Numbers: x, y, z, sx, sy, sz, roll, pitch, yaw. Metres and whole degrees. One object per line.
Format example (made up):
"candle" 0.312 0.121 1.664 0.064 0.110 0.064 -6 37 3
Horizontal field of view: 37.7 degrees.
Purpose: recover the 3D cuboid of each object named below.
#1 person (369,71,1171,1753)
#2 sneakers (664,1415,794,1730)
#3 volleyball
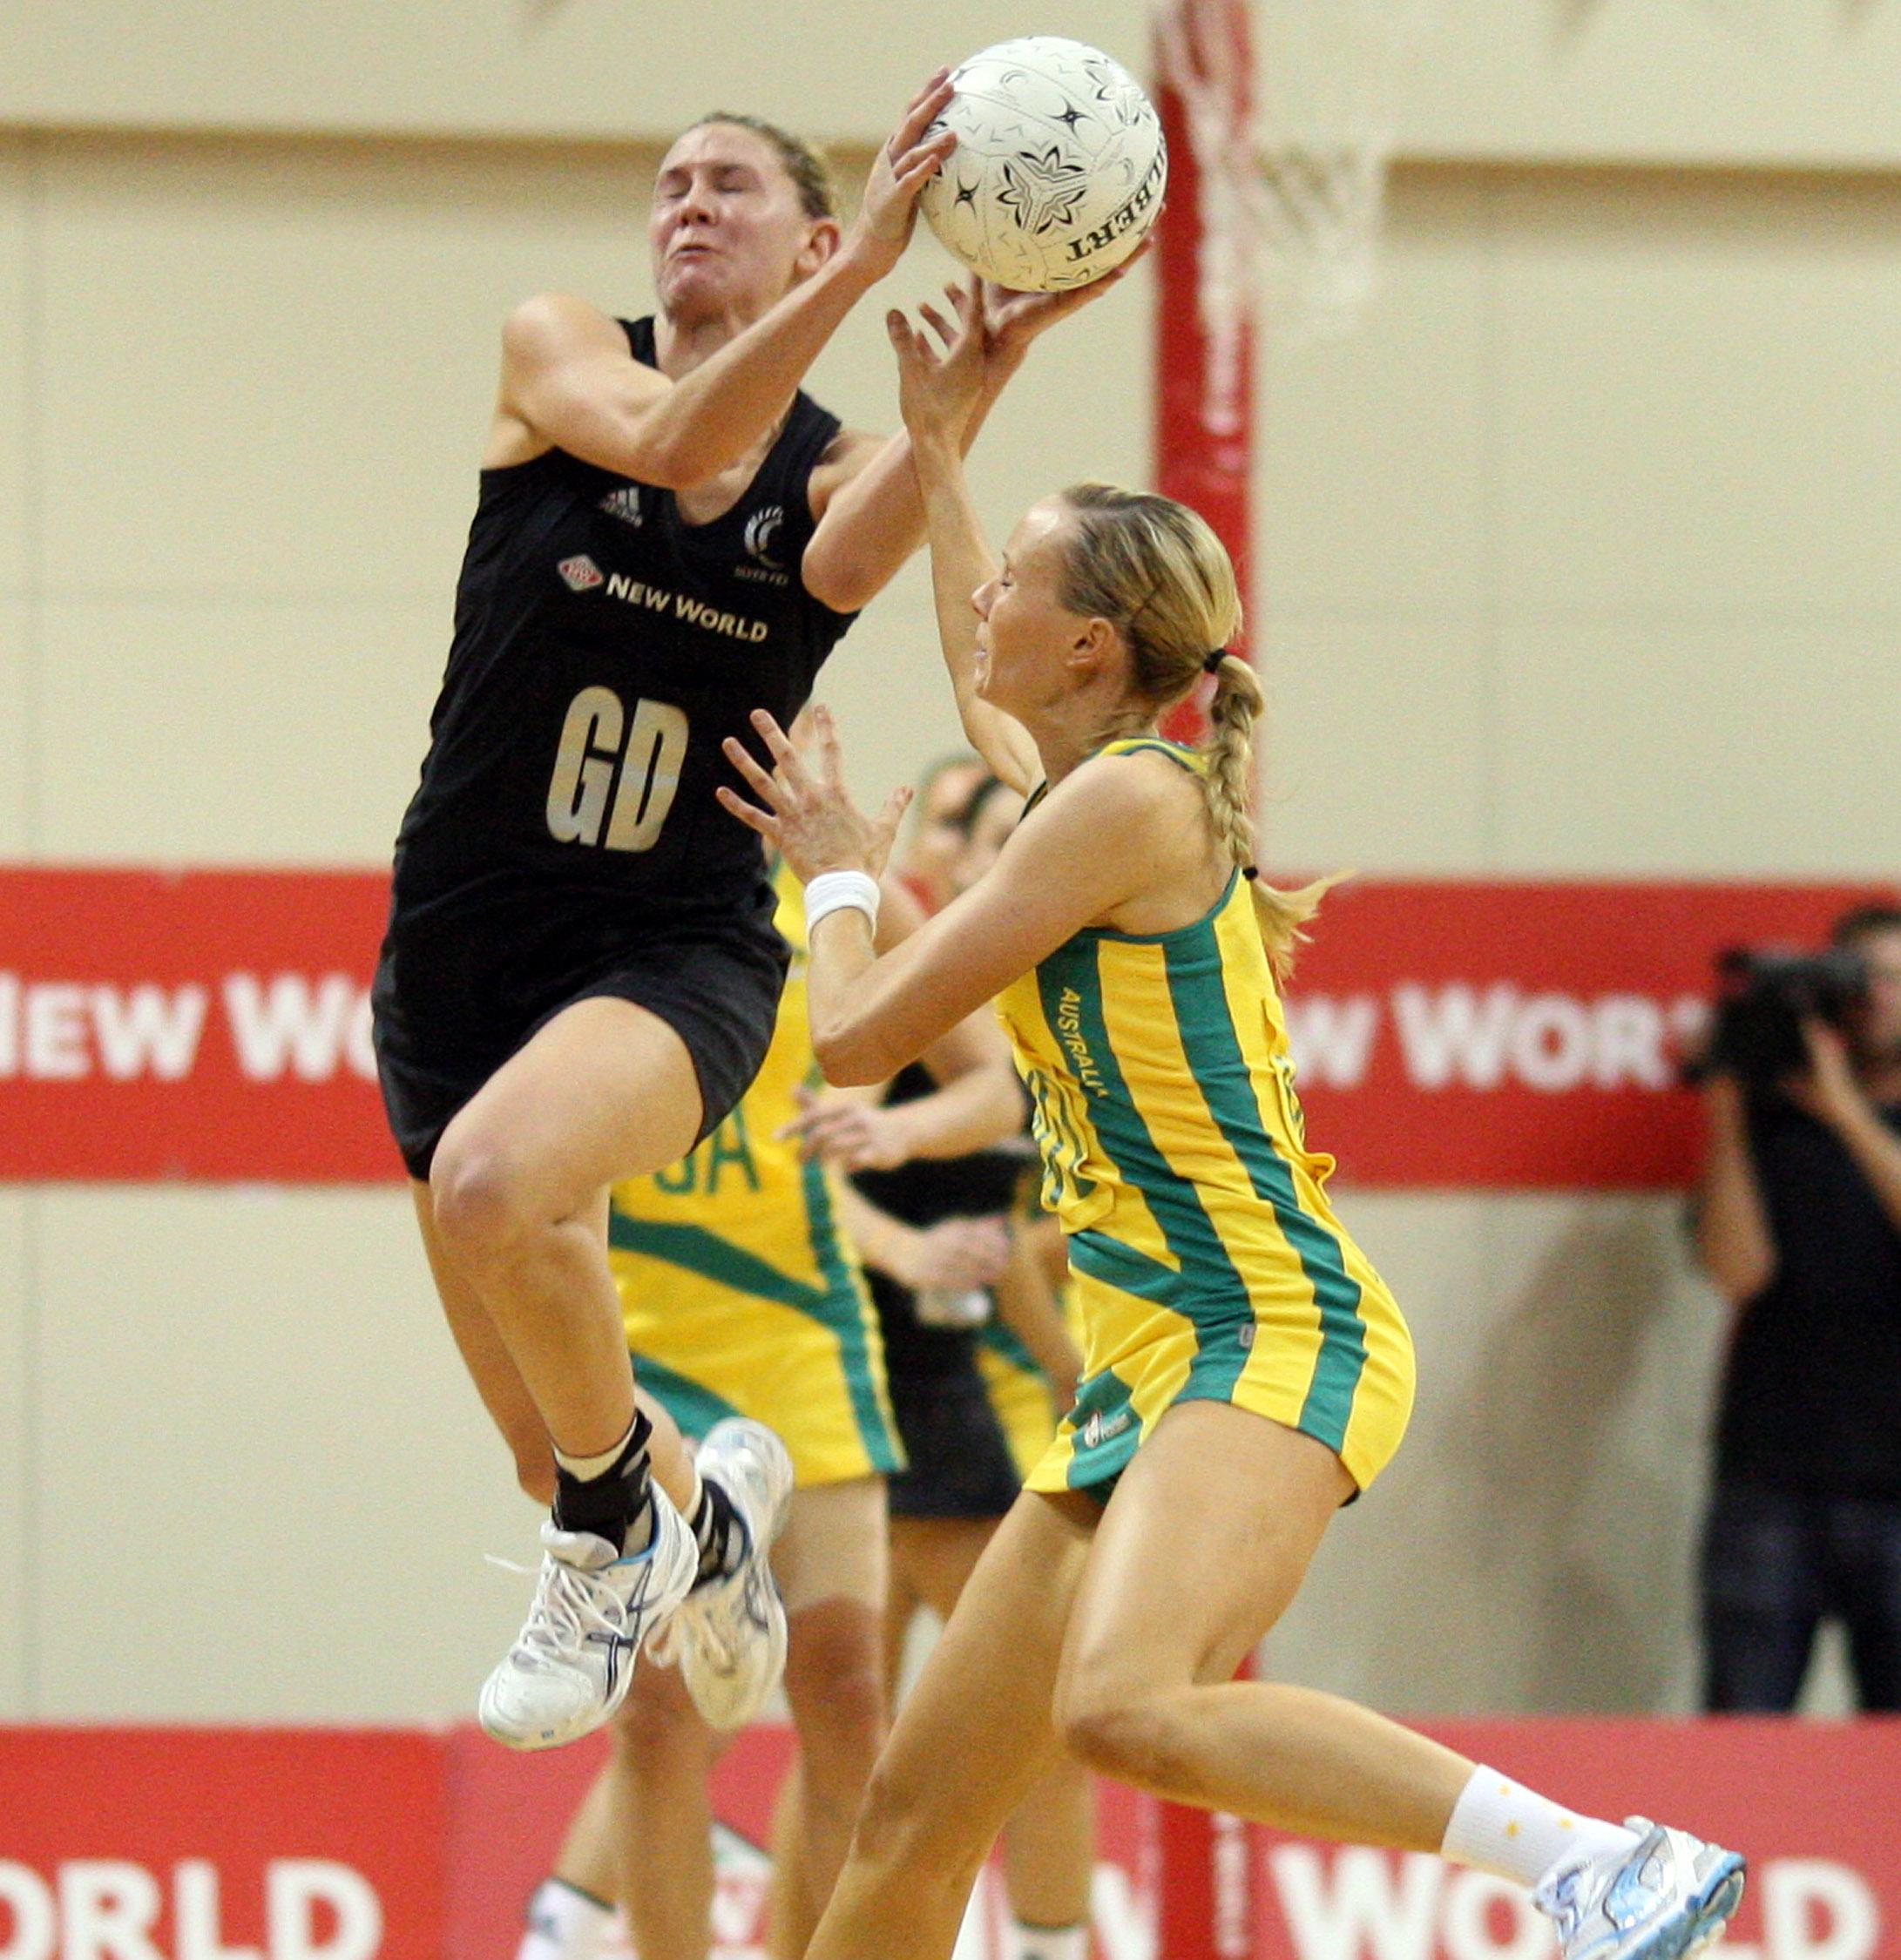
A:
"person" -0.251 -0.026 2.996 0.612 1.917 0.586 2 -1 -36
"sneakers" -0.278 0.707 3.313 0.120 0.380 0.149 -2 -7 21
"volleyball" 0.092 -0.902 3.008 0.269 0.275 0.164 0 -1 -36
